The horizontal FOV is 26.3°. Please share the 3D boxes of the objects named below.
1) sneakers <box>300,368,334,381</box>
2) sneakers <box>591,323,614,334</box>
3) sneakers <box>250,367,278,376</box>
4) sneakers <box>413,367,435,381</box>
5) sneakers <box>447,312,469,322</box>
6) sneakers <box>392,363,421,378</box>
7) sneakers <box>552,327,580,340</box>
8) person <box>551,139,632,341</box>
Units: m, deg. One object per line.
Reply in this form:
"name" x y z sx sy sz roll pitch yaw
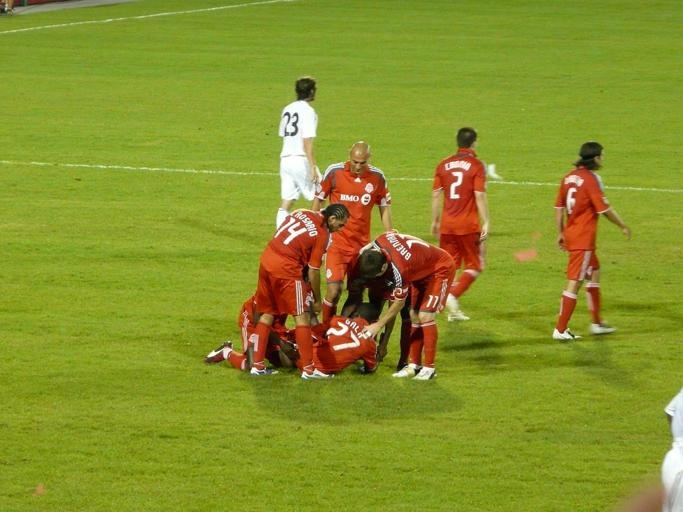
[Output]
"sneakers" -0.347 1.600 19.864 0.477 0.156 0.141 0 6 -7
"sneakers" 3.754 1.049 21.239 0.385 0.136 0.124 -2 12 -5
"sneakers" -1.060 1.570 20.002 0.409 0.126 0.129 0 5 -13
"sneakers" 1.131 1.591 19.894 0.160 0.099 0.294 -2 -4 26
"sneakers" 1.710 0.897 21.621 0.393 0.123 0.116 0 4 -4
"sneakers" 0.886 1.563 20.022 0.454 0.144 0.149 -2 6 -20
"sneakers" 3.293 1.126 21.151 0.463 0.153 0.145 -1 6 -9
"person" 3.532 -0.231 21.060 1.007 2.846 0.811 6 13 14
